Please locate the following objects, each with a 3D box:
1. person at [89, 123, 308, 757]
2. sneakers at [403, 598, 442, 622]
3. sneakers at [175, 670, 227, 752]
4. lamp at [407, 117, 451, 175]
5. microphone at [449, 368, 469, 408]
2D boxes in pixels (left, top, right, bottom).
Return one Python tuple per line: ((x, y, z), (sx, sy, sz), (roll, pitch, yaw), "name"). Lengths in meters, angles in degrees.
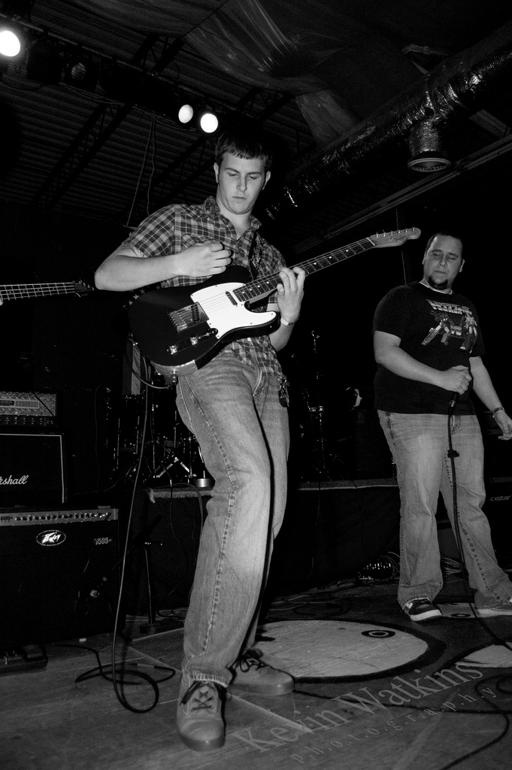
((-0.109, 0.023, 2.060), (0.453, 1.846, 0.623), (-7, -9, 35), "person")
((0.750, 1.015, 2.962), (0.132, 0.095, 0.164), (-2, -7, -3), "sneakers")
((-0.146, 0.841, 1.705), (0.117, 0.149, 0.169), (-1, -7, -7), "sneakers")
((1.213, -1.689, 4.629), (0.277, 0.303, 0.254), (5, -22, -6), "lamp")
((0.954, 0.014, 3.101), (0.102, 0.191, 0.300), (-4, -8, 18), "microphone")
